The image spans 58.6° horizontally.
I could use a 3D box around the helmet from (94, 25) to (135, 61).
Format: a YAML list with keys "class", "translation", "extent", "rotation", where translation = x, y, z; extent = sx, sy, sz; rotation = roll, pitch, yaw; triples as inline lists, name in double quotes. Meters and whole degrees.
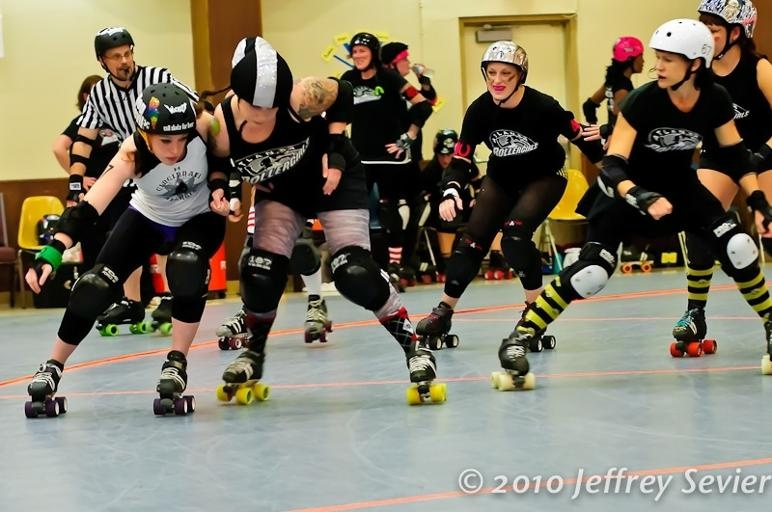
- class: "helmet"
  translation: [-2.009, -1.532, 5.207]
  extent: [0.224, 0.272, 0.285]
  rotation: [-9, -5, -27]

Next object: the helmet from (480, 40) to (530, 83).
- class: "helmet"
  translation: [0.780, -1.274, 4.555]
  extent: [0.294, 0.289, 0.354]
  rotation: [16, 24, 22]

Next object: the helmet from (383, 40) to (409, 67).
- class: "helmet"
  translation: [0.128, -2.622, 8.966]
  extent: [0.262, 0.161, 0.290]
  rotation: [-13, 7, -44]

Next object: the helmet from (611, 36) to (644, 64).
- class: "helmet"
  translation: [3.166, -2.674, 9.007]
  extent: [0.430, 0.353, 0.253]
  rotation: [-5, 9, -32]

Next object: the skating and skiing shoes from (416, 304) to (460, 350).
- class: "skating and skiing shoes"
  translation: [0.366, 0.509, 5.015]
  extent: [0.197, 0.286, 0.397]
  rotation: [7, 3, 40]

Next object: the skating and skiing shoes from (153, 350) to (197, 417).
- class: "skating and skiing shoes"
  translation: [-1.183, 0.703, 3.815]
  extent: [0.222, 0.305, 0.270]
  rotation: [-3, 8, -17]

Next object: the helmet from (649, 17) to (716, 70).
- class: "helmet"
  translation: [1.691, -1.203, 3.917]
  extent: [0.359, 0.284, 0.284]
  rotation: [-9, 33, -8]

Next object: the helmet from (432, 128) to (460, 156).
- class: "helmet"
  translation: [0.838, -1.598, 9.755]
  extent: [0.303, 0.342, 0.351]
  rotation: [0, 8, 3]

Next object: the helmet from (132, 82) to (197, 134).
- class: "helmet"
  translation: [-1.206, -0.785, 3.766]
  extent: [0.298, 0.248, 0.391]
  rotation: [-16, 31, -40]

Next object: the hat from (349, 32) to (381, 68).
- class: "hat"
  translation: [-0.236, -2.559, 8.545]
  extent: [0.331, 0.410, 0.532]
  rotation: [6, 10, 38]

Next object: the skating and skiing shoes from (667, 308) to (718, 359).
- class: "skating and skiing shoes"
  translation: [2.090, 0.512, 4.719]
  extent: [0.229, 0.304, 0.470]
  rotation: [-5, -4, 41]

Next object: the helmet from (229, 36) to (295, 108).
- class: "helmet"
  translation: [-0.672, -1.006, 3.659]
  extent: [0.313, 0.285, 0.471]
  rotation: [-2, 41, -26]

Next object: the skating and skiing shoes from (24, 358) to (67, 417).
- class: "skating and skiing shoes"
  translation: [-1.908, 0.742, 3.826]
  extent: [0.188, 0.295, 0.153]
  rotation: [-3, 8, -19]

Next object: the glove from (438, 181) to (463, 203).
- class: "glove"
  translation: [0.433, -0.423, 4.562]
  extent: [0.124, 0.116, 0.220]
  rotation: [0, 8, 7]

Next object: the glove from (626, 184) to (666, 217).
- class: "glove"
  translation: [1.416, -0.313, 3.765]
  extent: [0.156, 0.072, 0.161]
  rotation: [27, 12, 8]

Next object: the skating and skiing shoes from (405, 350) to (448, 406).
- class: "skating and skiing shoes"
  translation: [0.224, 0.664, 3.787]
  extent: [0.217, 0.282, 0.164]
  rotation: [0, 8, 2]

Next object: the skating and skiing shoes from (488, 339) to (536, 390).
- class: "skating and skiing shoes"
  translation: [0.733, 0.619, 3.976]
  extent: [0.241, 0.285, 0.189]
  rotation: [1, 8, 9]

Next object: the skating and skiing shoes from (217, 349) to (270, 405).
- class: "skating and skiing shoes"
  translation: [-0.821, 0.690, 3.987]
  extent: [0.207, 0.283, 0.321]
  rotation: [3, 1, 21]
